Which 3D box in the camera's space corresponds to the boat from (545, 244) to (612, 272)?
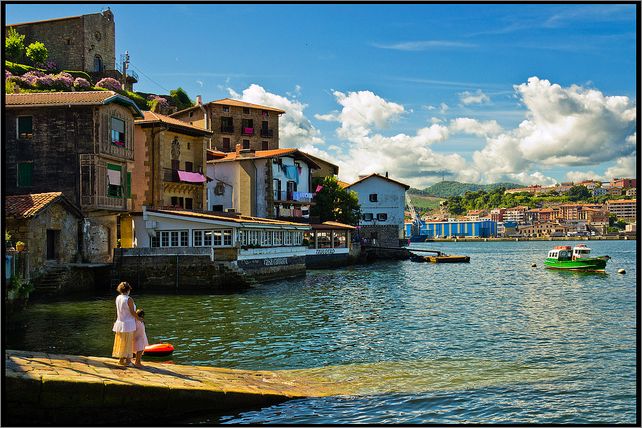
[{"bbox_3d":[26.879,4.622,91.266,2.674,2.811,8.196,3,-3,-31],"label":"boat"}]
